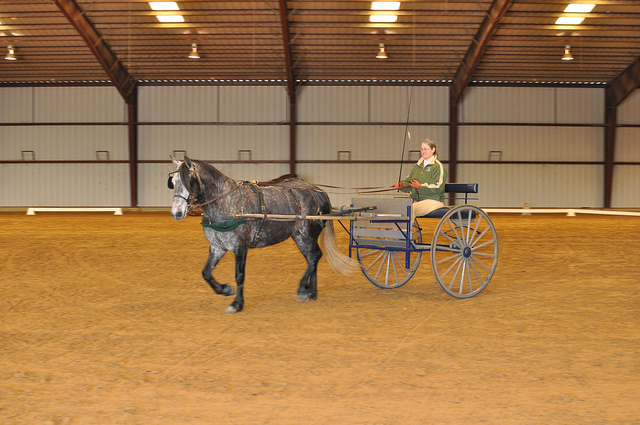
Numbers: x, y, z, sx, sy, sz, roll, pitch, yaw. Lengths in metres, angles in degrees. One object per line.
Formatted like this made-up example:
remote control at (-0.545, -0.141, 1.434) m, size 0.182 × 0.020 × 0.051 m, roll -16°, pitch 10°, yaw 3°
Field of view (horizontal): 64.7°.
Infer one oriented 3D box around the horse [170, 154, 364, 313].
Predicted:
horse at (-0.833, 0.291, 7.136) m, size 2.563 × 2.123 × 0.622 m, roll -4°, pitch 9°, yaw -32°

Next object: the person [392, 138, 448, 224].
person at (1.591, -0.512, 7.912) m, size 0.745 × 1.308 × 0.939 m, roll 2°, pitch 8°, yaw 11°

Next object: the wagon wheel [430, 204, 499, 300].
wagon wheel at (2.295, 0.621, 7.853) m, size 0.346 × 1.434 × 1.994 m, roll -1°, pitch -18°, yaw 45°
